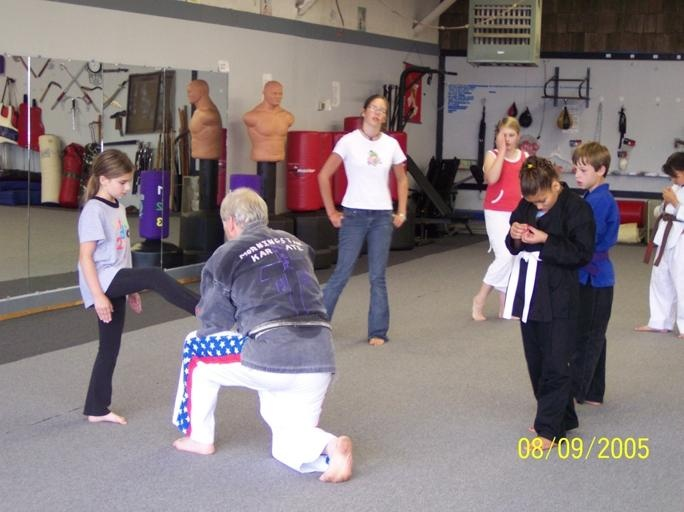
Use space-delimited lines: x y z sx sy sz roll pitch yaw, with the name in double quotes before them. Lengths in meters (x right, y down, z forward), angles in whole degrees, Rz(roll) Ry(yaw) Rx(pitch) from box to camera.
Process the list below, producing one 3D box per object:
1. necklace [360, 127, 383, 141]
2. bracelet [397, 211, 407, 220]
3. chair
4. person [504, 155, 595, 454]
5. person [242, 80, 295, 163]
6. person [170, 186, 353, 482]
"necklace" 0.228 -0.942 4.669 0.196 0.111 0.123 2 11 6
"bracelet" 0.479 -0.313 4.908 0.085 0.024 0.083 19 12 30
"chair" 1.500 -0.952 10.070 0.759 1.375 1.414 3 11 11
"person" 1.061 0.255 3.218 0.453 1.524 0.388 5 11 22
"person" -0.872 -1.569 7.173 0.557 0.942 0.264 -1 11 -7
"person" -0.428 0.243 3.343 0.765 1.508 1.420 -8 21 -31
